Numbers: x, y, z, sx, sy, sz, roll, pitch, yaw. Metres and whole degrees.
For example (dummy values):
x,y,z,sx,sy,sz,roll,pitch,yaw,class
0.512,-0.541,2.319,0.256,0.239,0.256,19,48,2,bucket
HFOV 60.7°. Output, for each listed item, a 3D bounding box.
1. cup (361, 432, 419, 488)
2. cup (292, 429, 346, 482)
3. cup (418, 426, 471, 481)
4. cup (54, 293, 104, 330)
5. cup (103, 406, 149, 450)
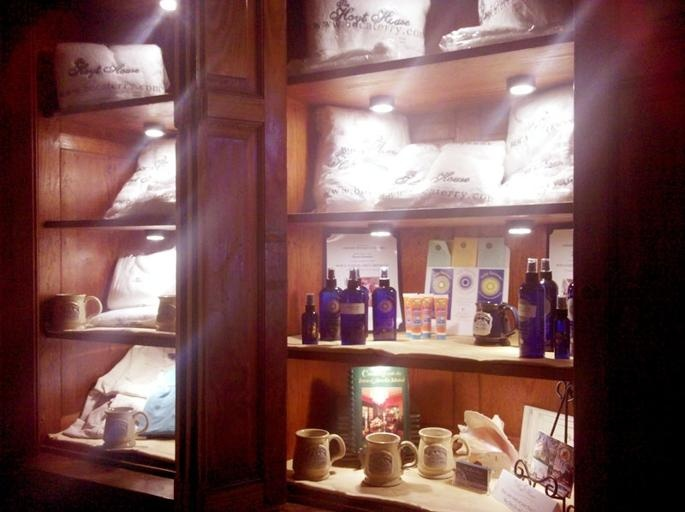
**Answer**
x,y,z,sx,sy,sz,roll,pitch,yaw,class
0.164,0.728,2.097,0.189,0.163,0.130,4,-7,-29,cup
-0.097,0.731,2.138,0.183,0.155,0.127,10,-12,-38,cup
0.360,0.726,2.156,0.188,0.164,0.130,1,-6,-3,cup
-1.140,0.236,2.510,0.162,0.132,0.108,4,-6,-26,cup
-0.865,0.712,2.397,0.182,0.173,0.129,6,-11,-17,cup
